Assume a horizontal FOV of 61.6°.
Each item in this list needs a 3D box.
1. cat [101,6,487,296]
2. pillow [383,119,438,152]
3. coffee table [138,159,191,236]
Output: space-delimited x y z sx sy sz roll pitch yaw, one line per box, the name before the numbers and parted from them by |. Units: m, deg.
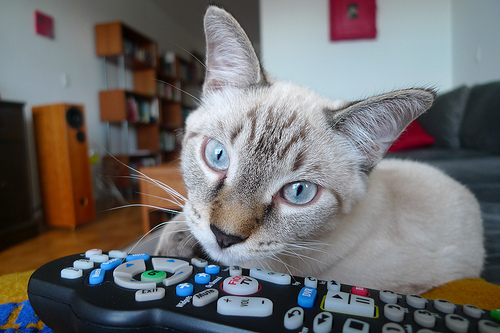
cat | 0.274 0.047 1.146 0.578 0.533 0.707 3 -2 41
pillow | 0.556 -0.095 1.423 0.158 0.050 0.166 -22 3 41
coffee table | -0.252 0.086 1.232 0.204 0.201 0.141 1 16 11
